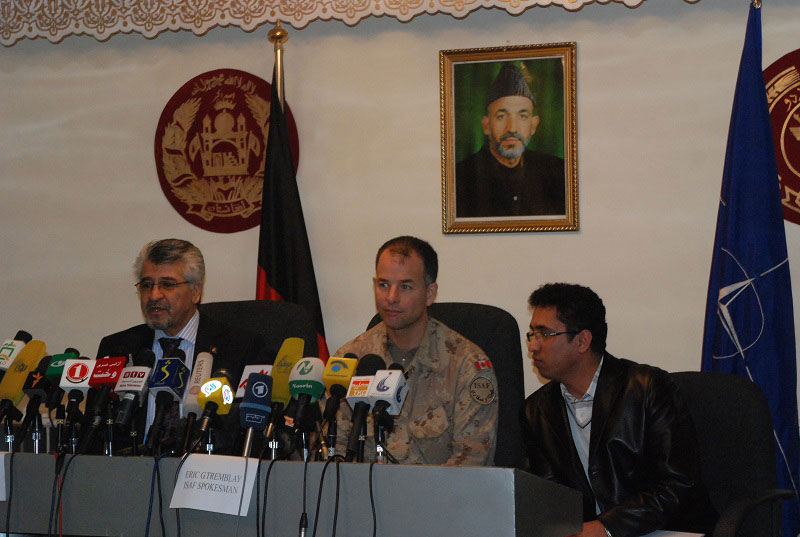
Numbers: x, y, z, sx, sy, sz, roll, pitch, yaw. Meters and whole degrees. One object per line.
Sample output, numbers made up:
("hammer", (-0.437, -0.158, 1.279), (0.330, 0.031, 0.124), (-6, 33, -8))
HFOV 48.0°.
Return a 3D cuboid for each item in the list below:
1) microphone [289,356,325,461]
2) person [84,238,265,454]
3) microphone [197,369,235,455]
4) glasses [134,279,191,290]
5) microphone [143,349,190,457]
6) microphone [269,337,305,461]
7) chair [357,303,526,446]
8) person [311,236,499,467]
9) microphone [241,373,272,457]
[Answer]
("microphone", (-0.417, 0.613, 3.954), (0.151, 0.438, 0.153), (3, -5, -28))
("person", (-1.176, 0.413, 4.870), (0.642, 1.459, 0.517), (-7, -35, 5))
("microphone", (-0.822, 0.646, 3.977), (0.195, 0.331, 0.139), (4, -6, -35))
("glasses", (-1.342, 0.096, 5.046), (0.303, 0.059, 0.092), (1, -6, 6))
("microphone", (-1.076, 0.627, 4.142), (0.136, 0.643, 0.141), (29, -54, -18))
("microphone", (-0.525, 0.551, 4.009), (0.098, 0.589, 0.098), (2, -37, 8))
("chair", (0.231, 0.704, 5.475), (0.629, 1.162, 0.846), (1, -11, -3))
("person", (0.040, 0.530, 4.847), (0.813, 1.515, 0.764), (3, 16, 22))
("microphone", (-0.628, 0.634, 3.908), (0.143, 0.357, 0.194), (3, -5, -22))
